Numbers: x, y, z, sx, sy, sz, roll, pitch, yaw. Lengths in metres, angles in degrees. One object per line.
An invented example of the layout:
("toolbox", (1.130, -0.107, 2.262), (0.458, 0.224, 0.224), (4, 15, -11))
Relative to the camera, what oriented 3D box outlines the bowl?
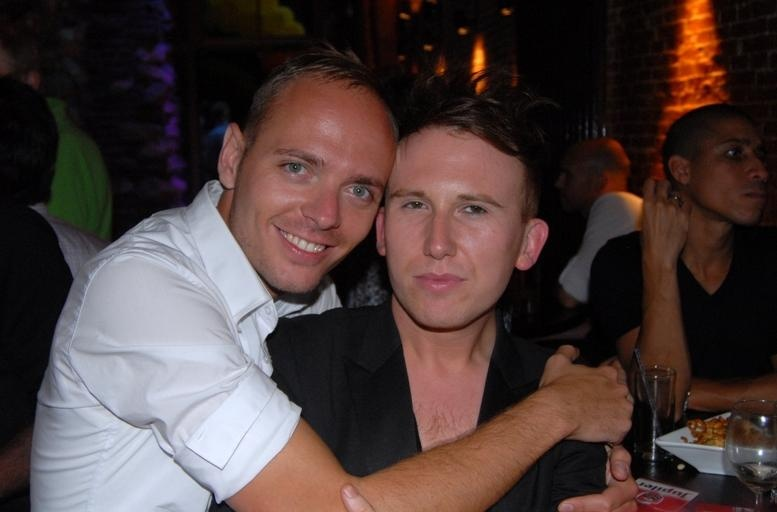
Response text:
("bowl", (1.372, 0.805, 2.739), (0.421, 0.116, 0.303), (-4, 4, -15))
